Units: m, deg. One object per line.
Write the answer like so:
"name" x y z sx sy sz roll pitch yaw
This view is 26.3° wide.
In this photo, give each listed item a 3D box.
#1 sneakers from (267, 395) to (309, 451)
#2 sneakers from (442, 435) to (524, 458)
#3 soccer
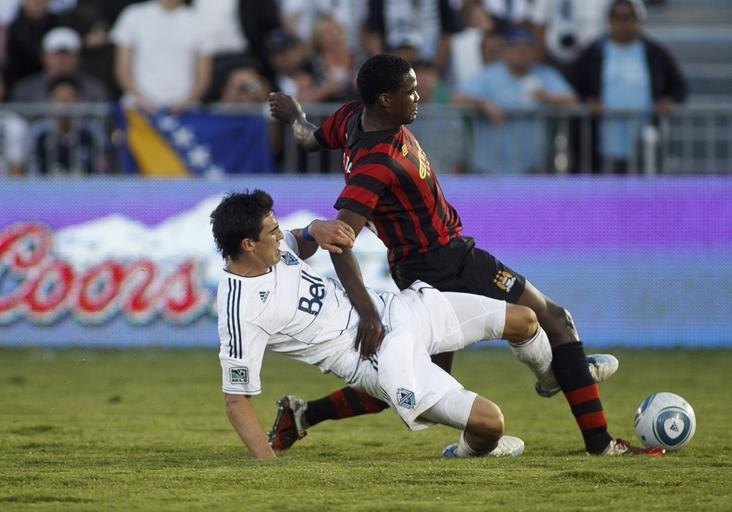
"sneakers" -0.641 1.395 13.069 0.204 0.564 0.294 24 -3 20
"sneakers" 0.971 1.568 12.776 0.413 0.185 0.272 -2 0 -19
"soccer" 2.473 1.381 13.003 0.574 0.539 0.530 -1 0 -15
